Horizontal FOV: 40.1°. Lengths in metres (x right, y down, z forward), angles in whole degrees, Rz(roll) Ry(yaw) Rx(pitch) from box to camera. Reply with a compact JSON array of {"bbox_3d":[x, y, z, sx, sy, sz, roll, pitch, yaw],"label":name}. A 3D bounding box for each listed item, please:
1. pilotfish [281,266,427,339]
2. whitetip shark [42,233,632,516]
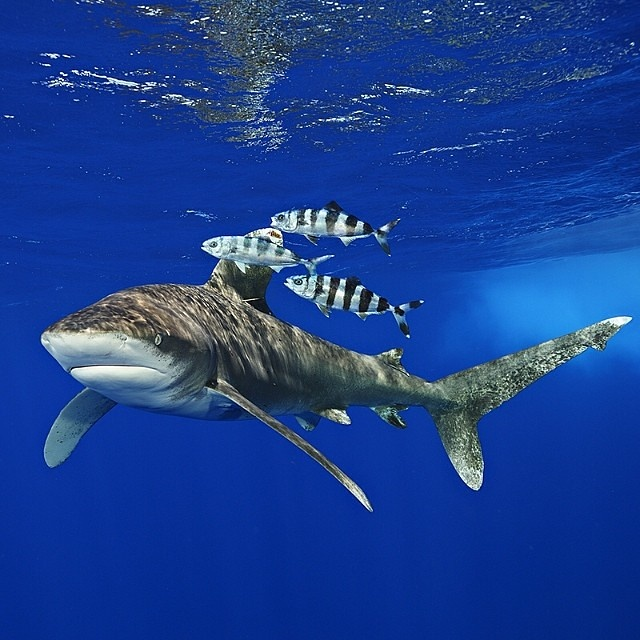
[{"bbox_3d":[0.408,-0.374,15.654,4.041,0.914,0.780,10,28,-4],"label":"pilotfish"},{"bbox_3d":[-0.460,1.095,15.605,7.970,3.696,2.466,-7,-10,-26],"label":"whitetip shark"}]
